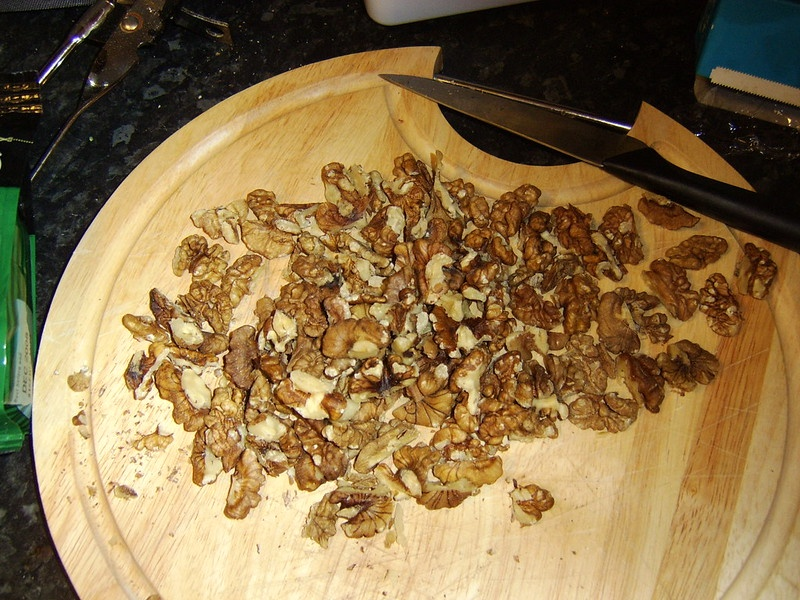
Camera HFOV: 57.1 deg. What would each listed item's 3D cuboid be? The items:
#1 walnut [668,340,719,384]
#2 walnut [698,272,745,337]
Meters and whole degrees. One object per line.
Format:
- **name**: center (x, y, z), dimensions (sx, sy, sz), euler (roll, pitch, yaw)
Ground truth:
- **walnut**: center (0.608, 0.122, 1.516), dimensions (0.061, 0.024, 0.095), euler (-35, 79, -10)
- **walnut**: center (0.670, 0.010, 1.530), dimensions (0.075, 0.033, 0.124), euler (-4, 83, 5)
